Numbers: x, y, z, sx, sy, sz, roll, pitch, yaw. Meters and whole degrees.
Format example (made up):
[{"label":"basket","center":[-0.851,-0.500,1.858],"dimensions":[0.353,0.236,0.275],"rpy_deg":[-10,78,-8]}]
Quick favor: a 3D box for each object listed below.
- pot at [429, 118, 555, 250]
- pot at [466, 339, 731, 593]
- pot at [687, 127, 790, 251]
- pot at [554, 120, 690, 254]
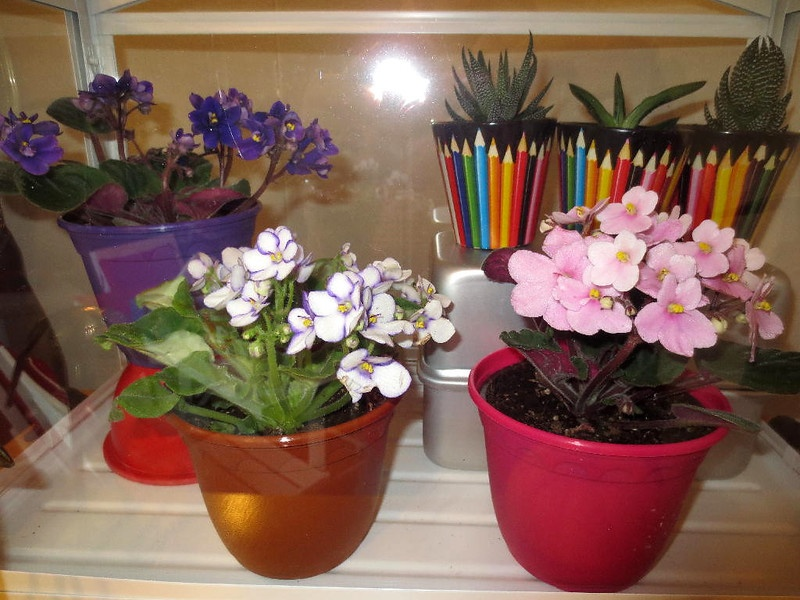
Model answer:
[{"label":"pot","center":[0.133,-0.171,0.928],"dimensions":[0.181,0.157,0.186],"rpy_deg":[-1,9,0]},{"label":"pot","center":[0.257,0.234,0.850],"dimensions":[0.299,0.216,0.296],"rpy_deg":[4,14,-1]},{"label":"pot","center":[0.447,-0.164,0.865],"dimensions":[0.143,0.147,0.137],"rpy_deg":[1,21,0]},{"label":"pot","center":[0.292,-0.175,0.846],"dimensions":[0.160,0.121,0.137],"rpy_deg":[-1,14,2]}]
